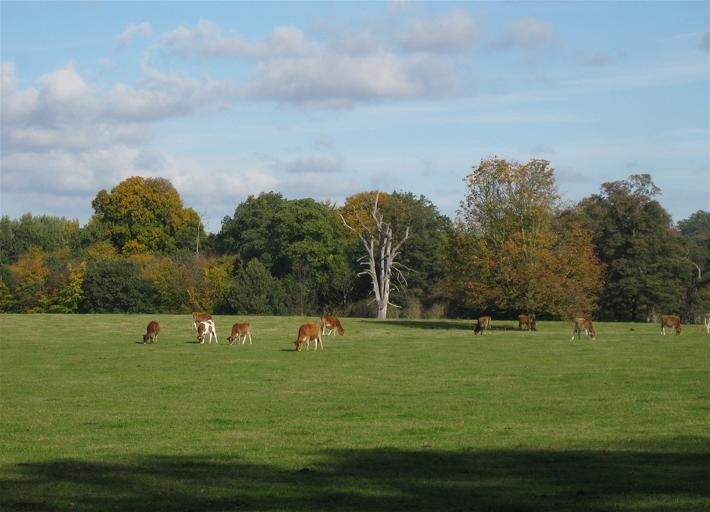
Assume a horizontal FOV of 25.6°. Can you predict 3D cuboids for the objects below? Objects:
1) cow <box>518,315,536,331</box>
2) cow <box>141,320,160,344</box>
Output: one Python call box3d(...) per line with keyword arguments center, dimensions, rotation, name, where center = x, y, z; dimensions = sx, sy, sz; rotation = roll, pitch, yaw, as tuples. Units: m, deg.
box3d(center=(12.391, 4.814, 112.539), dimensions=(1.227, 1.184, 2.234), rotation=(-1, -4, 6), name="cow")
box3d(center=(-13.075, 4.944, 101.505), dimensions=(0.999, 1.461, 2.656), rotation=(-1, -4, -9), name="cow")
